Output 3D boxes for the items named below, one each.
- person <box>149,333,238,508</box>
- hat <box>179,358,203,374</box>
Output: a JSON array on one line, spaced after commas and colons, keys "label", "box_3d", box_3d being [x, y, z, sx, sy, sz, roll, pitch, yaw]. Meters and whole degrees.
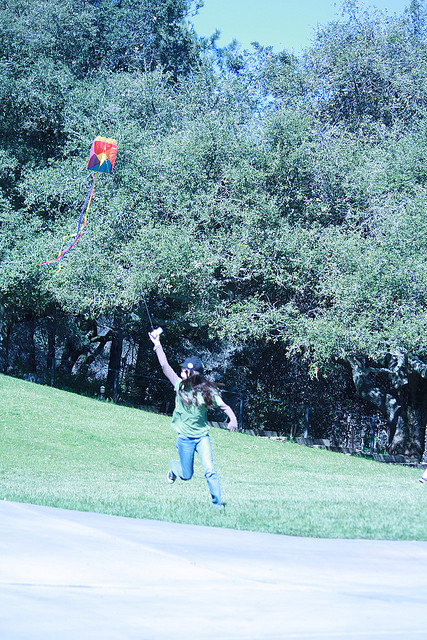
[{"label": "person", "box_3d": [-0.259, 1.002, 7.484, 0.954, 1.660, 0.939, 7, -7, -5]}, {"label": "hat", "box_3d": [-0.219, 0.458, 7.356, 0.186, 0.093, 0.129, 17, -10, -13]}]
